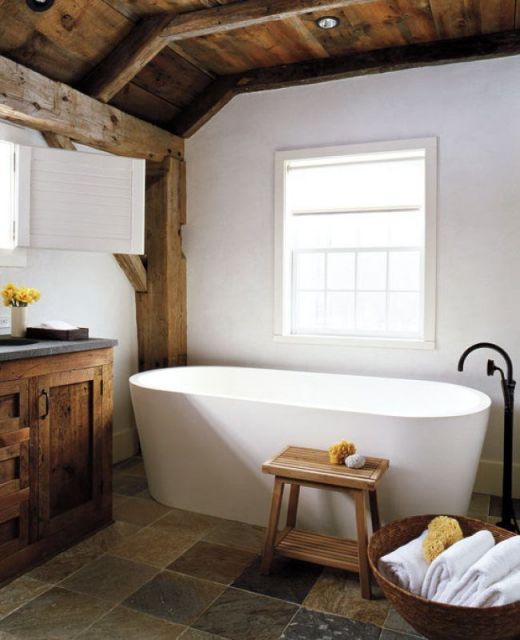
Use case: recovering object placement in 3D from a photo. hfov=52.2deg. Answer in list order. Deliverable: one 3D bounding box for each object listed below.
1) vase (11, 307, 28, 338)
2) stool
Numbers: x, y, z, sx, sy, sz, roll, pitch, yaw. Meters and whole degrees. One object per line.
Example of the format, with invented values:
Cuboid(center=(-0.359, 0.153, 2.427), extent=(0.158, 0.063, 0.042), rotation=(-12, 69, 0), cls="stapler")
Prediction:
Cuboid(center=(-1.144, 0.010, 2.503), extent=(0.066, 0.143, 0.060), rotation=(0, 3, -22), cls="vase")
Cuboid(center=(0.239, 0.716, 2.258), extent=(0.624, 0.558, 0.456), rotation=(1, 3, 28), cls="stool")
